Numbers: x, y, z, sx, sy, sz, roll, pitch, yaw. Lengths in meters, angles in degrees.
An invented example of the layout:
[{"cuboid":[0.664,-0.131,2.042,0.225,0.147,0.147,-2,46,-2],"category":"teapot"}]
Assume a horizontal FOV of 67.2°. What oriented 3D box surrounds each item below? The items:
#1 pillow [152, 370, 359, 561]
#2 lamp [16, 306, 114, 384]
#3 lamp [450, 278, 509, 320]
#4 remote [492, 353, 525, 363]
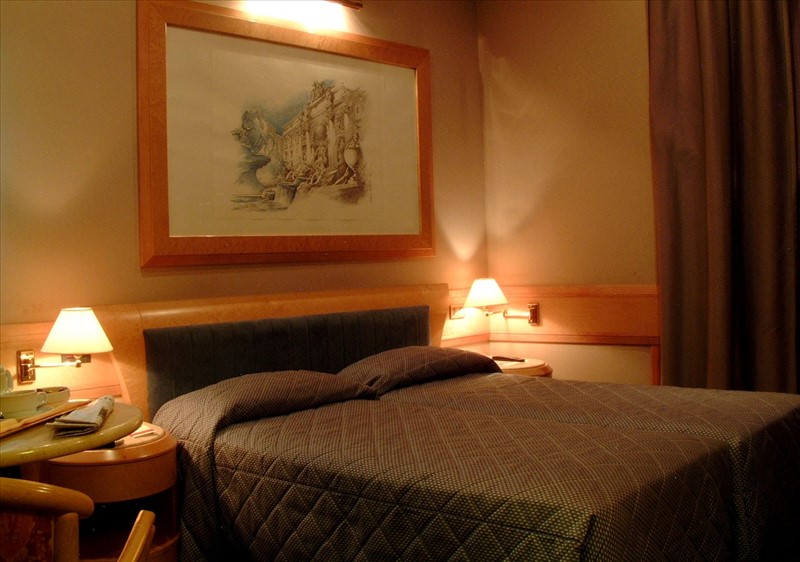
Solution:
[{"cuboid":[-0.809,0.798,2.940,0.790,0.433,0.806,-4,-3,32],"category":"pillow"},{"cuboid":[-1.709,0.328,3.065,0.491,0.429,0.317,-3,-2,26],"category":"lamp"},{"cuboid":[0.624,0.145,4.825,0.289,0.240,0.460,-4,-16,-8],"category":"lamp"},{"cuboid":[0.822,0.590,4.552,0.207,0.037,0.110,-1,-3,17],"category":"remote"}]
